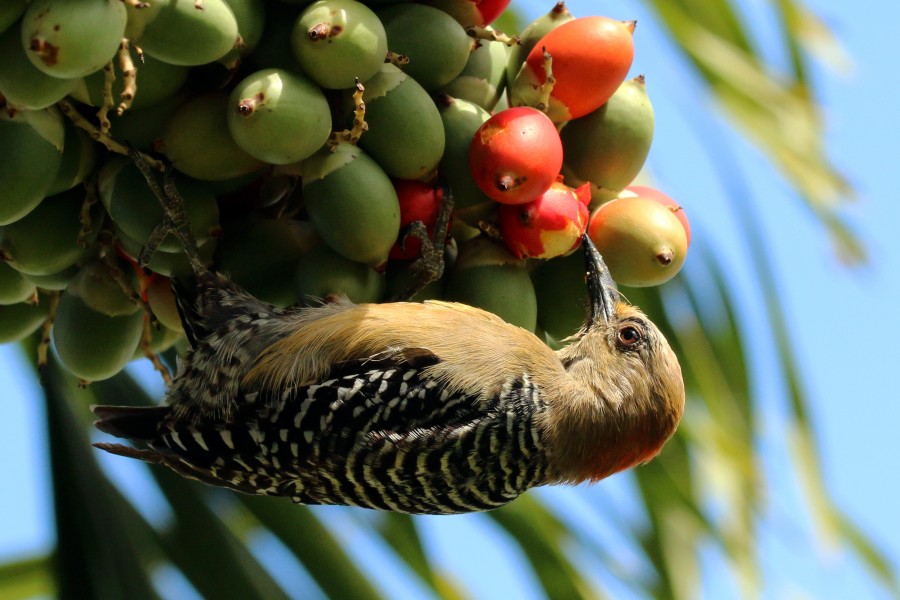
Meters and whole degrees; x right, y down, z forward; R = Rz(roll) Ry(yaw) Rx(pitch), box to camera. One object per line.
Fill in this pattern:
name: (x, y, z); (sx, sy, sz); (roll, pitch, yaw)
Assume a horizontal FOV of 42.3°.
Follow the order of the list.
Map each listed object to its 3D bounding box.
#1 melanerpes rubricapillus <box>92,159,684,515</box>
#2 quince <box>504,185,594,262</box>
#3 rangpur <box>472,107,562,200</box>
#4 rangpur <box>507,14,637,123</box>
melanerpes rubricapillus: (-0.159, 0.339, 3.247); (1.561, 1.161, 0.556); (12, -12, 2)
quince: (0.250, -0.209, 2.917); (0.163, 0.191, 0.194); (8, 23, 31)
rangpur: (0.151, -0.349, 2.843); (0.197, 0.219, 0.200); (-4, 14, -41)
rangpur: (0.323, -0.613, 2.924); (0.284, 0.190, 0.178); (-11, -4, 7)
